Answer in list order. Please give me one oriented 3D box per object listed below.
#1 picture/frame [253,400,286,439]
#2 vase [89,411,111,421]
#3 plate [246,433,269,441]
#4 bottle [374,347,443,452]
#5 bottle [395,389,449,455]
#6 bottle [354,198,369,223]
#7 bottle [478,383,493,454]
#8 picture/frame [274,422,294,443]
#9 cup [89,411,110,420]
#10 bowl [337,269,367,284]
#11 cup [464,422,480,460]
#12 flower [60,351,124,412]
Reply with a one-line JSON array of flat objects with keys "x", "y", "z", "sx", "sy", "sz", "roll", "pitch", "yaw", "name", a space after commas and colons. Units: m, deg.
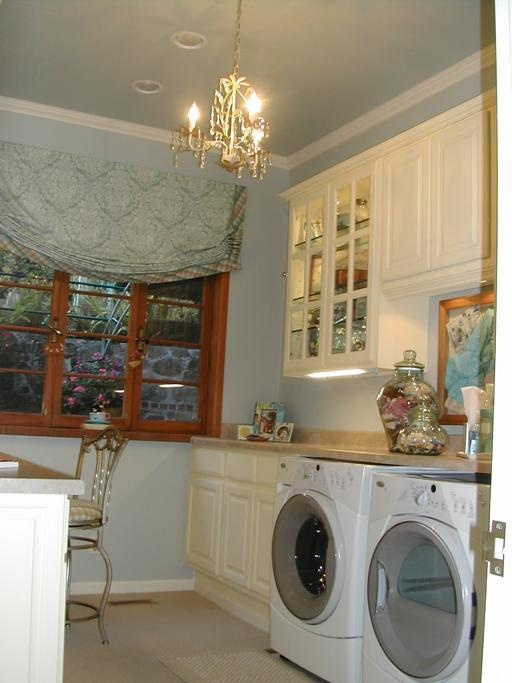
[{"x": 0.099, "y": 0.614, "z": 4.122, "sx": 0.236, "sy": 0.263, "sz": 0.030, "roll": -7, "pitch": -20, "yaw": 40, "name": "picture/frame"}, {"x": -1.084, "y": 0.520, "z": 3.699, "sx": 0.126, "sy": 0.085, "sz": 0.094, "roll": 10, "pitch": -18, "yaw": -32, "name": "vase"}, {"x": 0.012, "y": 0.716, "z": 3.946, "sx": 0.143, "sy": 0.053, "sz": 0.181, "roll": 1, "pitch": -13, "yaw": 10, "name": "plate"}, {"x": 0.828, "y": 0.322, "z": 2.803, "sx": 0.363, "sy": 0.540, "sz": 0.339, "roll": -5, "pitch": -4, "yaw": 0, "name": "bottle"}, {"x": 0.794, "y": 0.393, "z": 2.514, "sx": 0.242, "sy": 0.270, "sz": 0.249, "roll": 4, "pitch": -5, "yaw": -24, "name": "bottle"}, {"x": 0.675, "y": -0.843, "z": 3.431, "sx": 0.009, "sy": 0.202, "sz": 0.128, "roll": 11, "pitch": -16, "yaw": -30, "name": "bottle"}, {"x": 0.942, "y": 0.320, "z": 2.195, "sx": 0.055, "sy": 0.300, "sz": 0.267, "roll": -2, "pitch": -14, "yaw": 22, "name": "bottle"}, {"x": 0.201, "y": 0.684, "z": 4.024, "sx": 0.182, "sy": 0.189, "sz": 0.020, "roll": 1, "pitch": -26, "yaw": 36, "name": "picture/frame"}, {"x": -1.084, "y": 0.509, "z": 3.694, "sx": 0.071, "sy": 0.047, "sz": 0.108, "roll": -3, "pitch": -6, "yaw": 27, "name": "cup"}, {"x": 0.627, "y": -0.422, "z": 3.451, "sx": 0.136, "sy": 0.047, "sz": 0.199, "roll": 0, "pitch": -1, "yaw": -3, "name": "bowl"}, {"x": 0.901, "y": 0.416, "z": 2.216, "sx": 0.062, "sy": 0.137, "sz": 0.031, "roll": -1, "pitch": -14, "yaw": 16, "name": "cup"}, {"x": -1.210, "y": 0.300, "z": 3.904, "sx": 0.432, "sy": 0.410, "sz": 0.245, "roll": -3, "pitch": 1, "yaw": -33, "name": "flower"}]
